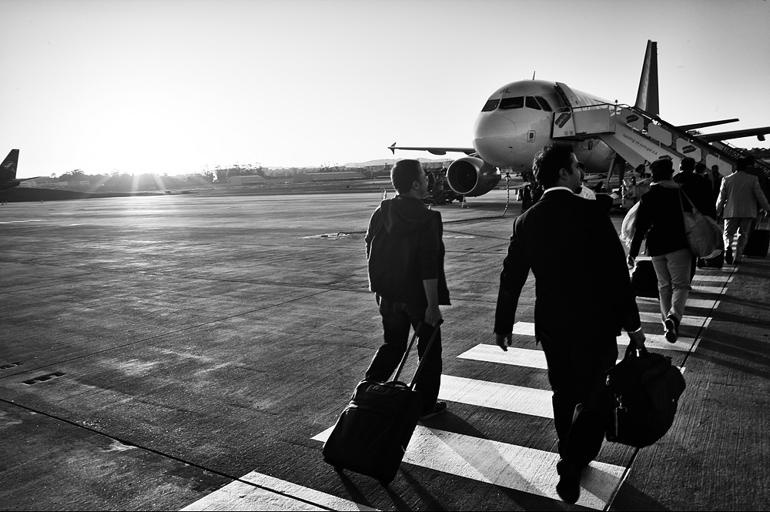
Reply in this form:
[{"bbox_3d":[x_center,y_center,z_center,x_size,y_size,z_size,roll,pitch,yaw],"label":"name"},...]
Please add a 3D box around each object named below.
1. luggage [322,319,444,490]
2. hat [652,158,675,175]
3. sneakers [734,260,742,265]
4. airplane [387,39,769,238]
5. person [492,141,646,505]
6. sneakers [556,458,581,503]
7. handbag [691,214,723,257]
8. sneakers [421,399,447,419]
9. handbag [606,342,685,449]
[{"bbox_3d":[-0.107,1.464,4.017,0.741,0.730,0.487,2,13,12],"label":"luggage"},{"bbox_3d":[4.038,-1.332,7.033,0.289,0.311,0.348,4,13,12],"label":"hat"},{"bbox_3d":[8.747,0.137,11.846,0.146,0.092,0.134,-4,4,-17],"label":"sneakers"},{"bbox_3d":[12.480,-5.880,24.742,15.465,5.467,15.449,4,6,42],"label":"airplane"},{"bbox_3d":[1.499,0.491,3.990,0.860,2.811,0.927,-12,18,-39],"label":"person"},{"bbox_3d":[1.479,1.802,3.853,0.163,0.356,0.153,4,-13,29],"label":"sneakers"},{"bbox_3d":[4.598,-0.289,6.847,0.436,0.675,0.620,-3,10,27],"label":"handbag"},{"bbox_3d":[0.537,1.596,4.989,0.359,0.123,0.113,1,15,-33],"label":"sneakers"},{"bbox_3d":[2.095,1.138,3.885,0.526,0.700,0.494,7,15,30],"label":"handbag"}]
